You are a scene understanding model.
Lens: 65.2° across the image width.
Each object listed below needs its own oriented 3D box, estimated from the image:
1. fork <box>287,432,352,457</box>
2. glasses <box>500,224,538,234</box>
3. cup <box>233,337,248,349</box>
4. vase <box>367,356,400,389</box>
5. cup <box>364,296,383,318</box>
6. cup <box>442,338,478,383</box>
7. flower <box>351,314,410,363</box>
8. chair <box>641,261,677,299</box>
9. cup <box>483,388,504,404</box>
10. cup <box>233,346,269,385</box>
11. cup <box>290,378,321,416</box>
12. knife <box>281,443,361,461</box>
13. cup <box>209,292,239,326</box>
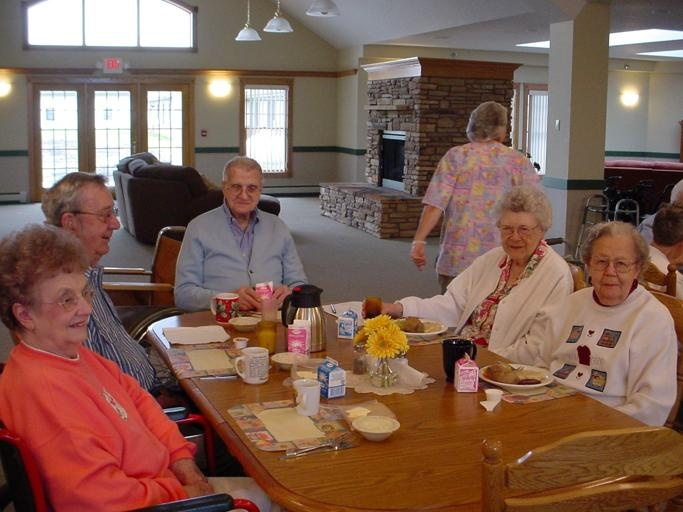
[{"bbox_3d":[-0.053,0.509,1.436,0.184,0.029,0.052,-5,29,-34],"label":"fork"},{"bbox_3d":[0.823,-0.126,2.484,0.150,0.044,0.036,7,13,22],"label":"glasses"},{"bbox_3d":[-0.408,0.342,2.143,0.048,0.025,0.047,-2,14,0],"label":"cup"},{"bbox_3d":[0.131,0.399,1.886,0.121,0.150,0.102,-2,3,-5],"label":"vase"},{"bbox_3d":[0.133,0.221,2.324,0.091,0.082,0.093,1,7,0],"label":"cup"},{"bbox_3d":[0.392,0.376,1.928,0.169,0.139,0.130,2,3,-5],"label":"cup"},{"bbox_3d":[0.139,0.320,1.883,0.199,0.180,0.178,1,24,10],"label":"flower"},{"bbox_3d":[1.362,0.105,2.286,0.106,0.185,0.116,-20,21,-28],"label":"chair"},{"bbox_3d":[0.498,0.453,1.733,0.040,0.022,0.039,1,3,0],"label":"cup"},{"bbox_3d":[-0.303,0.380,1.891,0.096,0.095,0.150,8,12,37],"label":"cup"},{"bbox_3d":[-0.101,0.425,1.605,0.075,0.088,0.110,1,8,0],"label":"cup"},{"bbox_3d":[-0.053,0.511,1.429,0.220,0.009,0.054,-6,18,-17],"label":"knife"},{"bbox_3d":[-0.540,0.237,2.486,0.160,0.114,0.113,-1,7,-6],"label":"cup"}]
